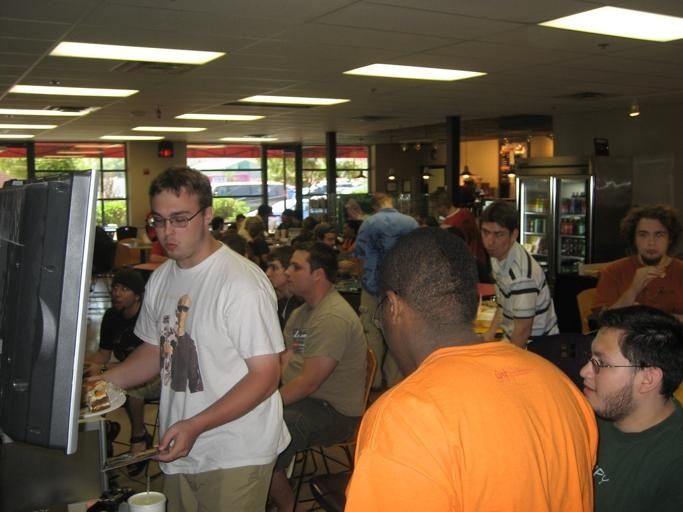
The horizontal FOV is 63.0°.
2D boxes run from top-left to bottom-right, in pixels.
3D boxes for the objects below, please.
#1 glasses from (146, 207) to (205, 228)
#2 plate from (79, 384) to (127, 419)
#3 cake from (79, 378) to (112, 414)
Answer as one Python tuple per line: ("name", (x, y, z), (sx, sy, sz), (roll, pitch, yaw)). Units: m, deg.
("glasses", (-0.648, -0.141, 2.080), (0.250, 0.071, 0.114), (0, 3, 21))
("plate", (-0.834, 0.521, 1.952), (0.102, 0.032, 0.126), (20, 29, 39))
("cake", (-0.864, 0.496, 1.950), (0.094, 0.027, 0.090), (0, 37, 7))
